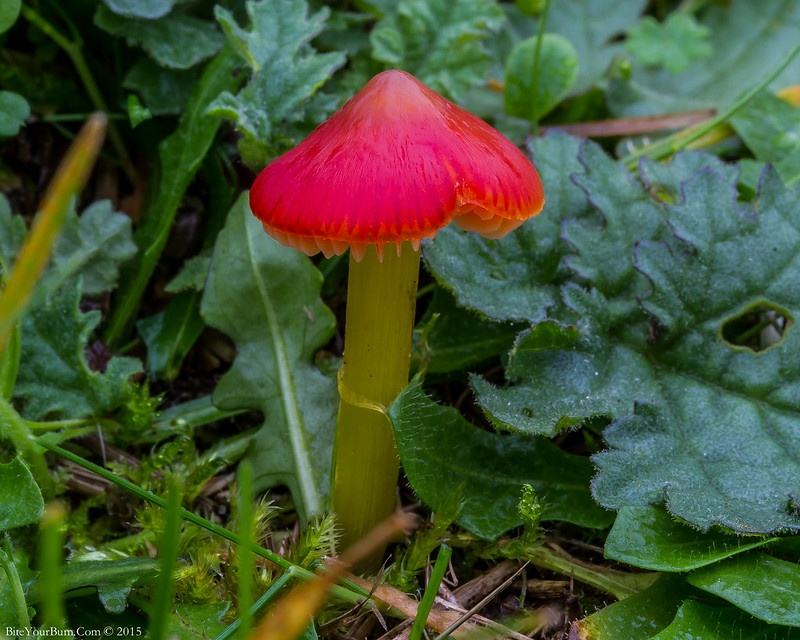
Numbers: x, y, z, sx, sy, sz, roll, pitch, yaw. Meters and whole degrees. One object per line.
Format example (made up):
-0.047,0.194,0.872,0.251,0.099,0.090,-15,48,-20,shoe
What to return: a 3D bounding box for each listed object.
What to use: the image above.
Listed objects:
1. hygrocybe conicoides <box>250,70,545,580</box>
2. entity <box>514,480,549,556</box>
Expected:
-0.044,-0.042,1.542,0.427,0.753,0.401,31,39,22,hygrocybe conicoides
0.229,0.351,1.498,0.041,0.121,0.049,4,26,21,entity
